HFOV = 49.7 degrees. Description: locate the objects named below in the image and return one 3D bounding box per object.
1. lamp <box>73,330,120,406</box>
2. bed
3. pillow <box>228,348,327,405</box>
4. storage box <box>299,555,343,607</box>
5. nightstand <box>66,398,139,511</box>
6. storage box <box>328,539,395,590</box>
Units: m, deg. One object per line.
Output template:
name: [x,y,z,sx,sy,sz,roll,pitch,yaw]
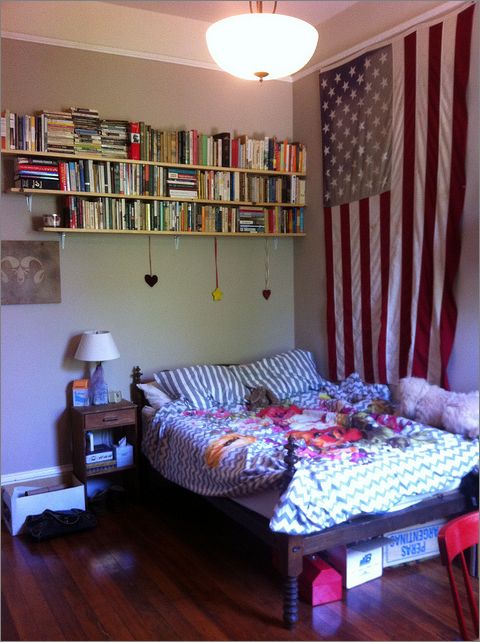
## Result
lamp: [-0.911,0.294,3.256,0.256,0.460,0.322,-1,-1,-18]
bed: [0.185,0.661,2.392,0.794,0.491,0.973,-4,7,-31]
pillow: [0.332,0.389,3.747,0.502,0.138,0.330,-9,28,-42]
storage box: [0.341,1.067,2.152,0.113,0.115,0.217,-2,1,-16]
nightstand: [-0.861,0.821,3.262,0.347,0.701,0.322,-1,9,-29]
storage box: [0.534,1.042,2.238,0.169,0.177,0.236,-1,-6,-25]
